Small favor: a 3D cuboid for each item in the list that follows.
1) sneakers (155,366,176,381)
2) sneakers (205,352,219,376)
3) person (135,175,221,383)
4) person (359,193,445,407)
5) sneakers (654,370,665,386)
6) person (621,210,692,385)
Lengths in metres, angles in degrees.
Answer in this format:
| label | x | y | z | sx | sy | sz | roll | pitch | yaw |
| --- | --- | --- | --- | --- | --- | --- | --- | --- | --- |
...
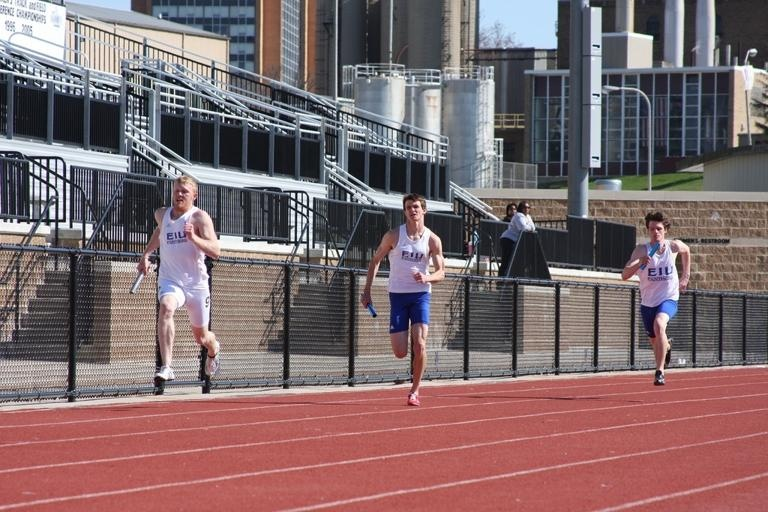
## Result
| label | x | y | z | sx | sy | sz | roll | pitch | yaw |
| --- | --- | --- | --- | --- | --- | --- | --- | --- | --- |
| sneakers | -2.977 | 1.630 | 17.372 | 0.170 | 0.213 | 0.477 | -1 | -5 | 17 |
| sneakers | -2.446 | 1.568 | 17.891 | 0.157 | 0.432 | 0.183 | 0 | 25 | -6 |
| person | -2.796 | 0.357 | 17.352 | 1.071 | 2.429 | 1.242 | 1 | 0 | -9 |
| person | 0.281 | 0.643 | 18.121 | 0.952 | 2.308 | 0.830 | 1 | 0 | 42 |
| sneakers | 4.371 | 1.937 | 20.121 | 0.142 | 0.159 | 0.371 | 2 | 0 | 16 |
| person | 4.284 | 0.687 | 19.964 | 0.602 | 1.799 | 1.435 | 1 | 0 | 39 |
